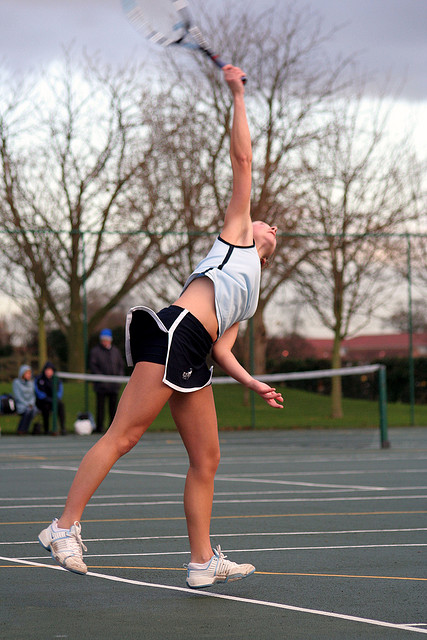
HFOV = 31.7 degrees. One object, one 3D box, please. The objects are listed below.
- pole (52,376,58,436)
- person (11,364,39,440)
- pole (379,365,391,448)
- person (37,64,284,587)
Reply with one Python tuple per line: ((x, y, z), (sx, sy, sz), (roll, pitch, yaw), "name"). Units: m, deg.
((-2.514, 1.357, 11.967), (0.080, 0.919, 0.290), (0, -4, -12), "pole")
((-3.037, 1.294, 12.215), (0.402, 1.128, 1.033), (0, -4, -15), "person")
((0.986, 0.496, 4.349), (0.058, 0.460, 0.324), (-2, -4, 13), "pole")
((-0.176, -0.007, 2.769), (0.785, 2.039, 0.305), (0, -4, -14), "person")
